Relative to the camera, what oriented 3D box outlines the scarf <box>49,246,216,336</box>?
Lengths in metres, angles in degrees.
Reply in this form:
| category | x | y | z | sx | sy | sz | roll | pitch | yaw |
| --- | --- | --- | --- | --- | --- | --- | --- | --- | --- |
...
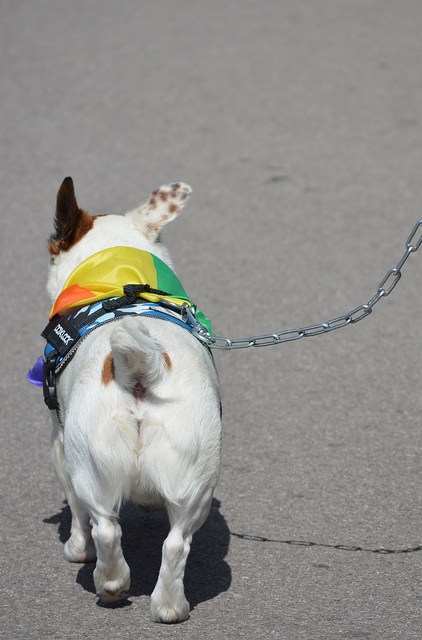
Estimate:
| category | x | y | z | sx | sy | sz | roll | pitch | yaw |
| --- | --- | --- | --- | --- | --- | --- | --- | --- | --- |
| scarf | -0.445 | -0.124 | 4.144 | 0.610 | 0.234 | 0.682 | -1 | -1 | -8 |
